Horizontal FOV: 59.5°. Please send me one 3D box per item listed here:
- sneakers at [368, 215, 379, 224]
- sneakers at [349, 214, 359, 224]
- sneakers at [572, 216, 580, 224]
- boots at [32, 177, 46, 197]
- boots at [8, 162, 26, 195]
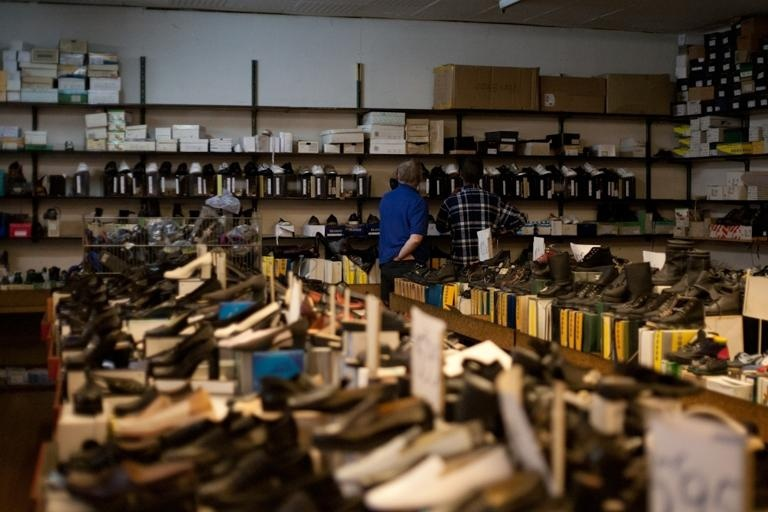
[{"bbox_3d":[-0.119,-0.401,7.314,0.125,0.088,0.076,6,-7,-31],"label":"sneakers"},{"bbox_3d":[-0.343,-0.419,7.397,0.078,0.078,0.129,0,-6,1],"label":"sneakers"},{"bbox_3d":[2.218,-0.427,7.791,0.113,0.038,0.123,7,12,6],"label":"sneakers"},{"bbox_3d":[-3.576,-0.730,6.980,0.127,0.205,0.263,-4,8,-27],"label":"boots"},{"bbox_3d":[-3.780,-0.816,6.911,0.171,0.327,0.231,-4,8,-29],"label":"boots"}]
